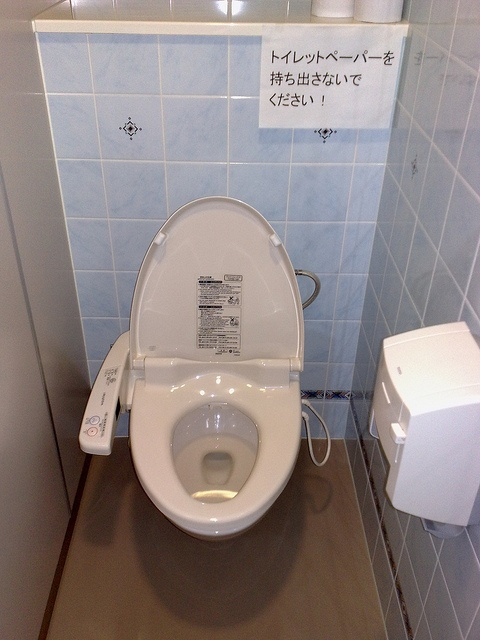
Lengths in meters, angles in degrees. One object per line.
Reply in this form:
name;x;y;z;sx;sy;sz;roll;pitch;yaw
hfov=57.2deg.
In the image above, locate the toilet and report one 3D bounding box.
toilet;-0.092;0.224;1.091;0.459;0.798;0.562;19;54;6
